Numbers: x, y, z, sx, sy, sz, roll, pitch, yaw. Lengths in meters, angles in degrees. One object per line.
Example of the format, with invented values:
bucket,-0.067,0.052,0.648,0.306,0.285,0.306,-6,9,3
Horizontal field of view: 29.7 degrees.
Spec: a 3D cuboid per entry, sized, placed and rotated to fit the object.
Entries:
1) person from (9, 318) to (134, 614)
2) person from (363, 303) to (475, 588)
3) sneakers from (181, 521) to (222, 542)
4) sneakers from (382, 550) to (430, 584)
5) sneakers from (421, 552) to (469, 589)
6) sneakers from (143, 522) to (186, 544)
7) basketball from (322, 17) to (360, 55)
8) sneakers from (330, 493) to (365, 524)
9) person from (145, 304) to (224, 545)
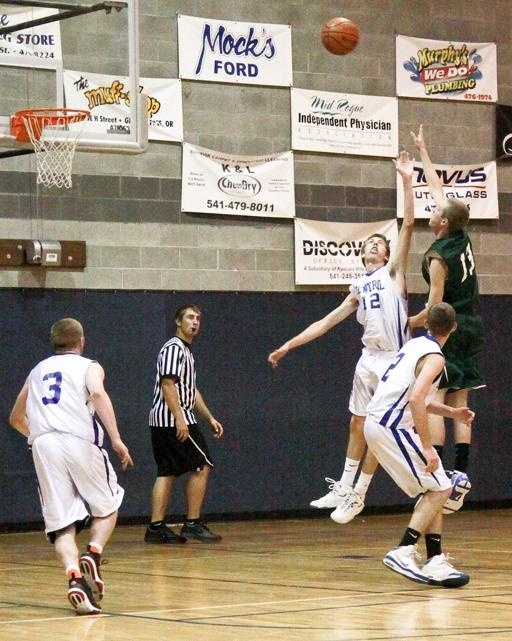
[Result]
person,-0.766,0.605,4.105,0.463,1.251,0.721,-3,1,-20
person,0.770,0.571,4.362,0.463,1.181,0.634,-3,0,-9
sneakers,-0.406,1.505,6.972,0.362,0.156,0.123,10,-7,-4
sneakers,0.693,1.104,4.395,0.197,0.161,0.159,-2,0,9
sneakers,0.854,1.144,4.443,0.277,0.164,0.101,4,-1,11
sneakers,-0.663,1.530,6.958,0.345,0.142,0.128,2,-6,0
basketball,0.650,-2.236,7.456,0.249,0.279,0.206,-2,0,-14
sneakers,0.564,1.128,5.880,0.187,0.199,0.387,-2,0,6
person,-0.540,0.735,6.885,0.407,1.656,0.463,-3,1,-42
